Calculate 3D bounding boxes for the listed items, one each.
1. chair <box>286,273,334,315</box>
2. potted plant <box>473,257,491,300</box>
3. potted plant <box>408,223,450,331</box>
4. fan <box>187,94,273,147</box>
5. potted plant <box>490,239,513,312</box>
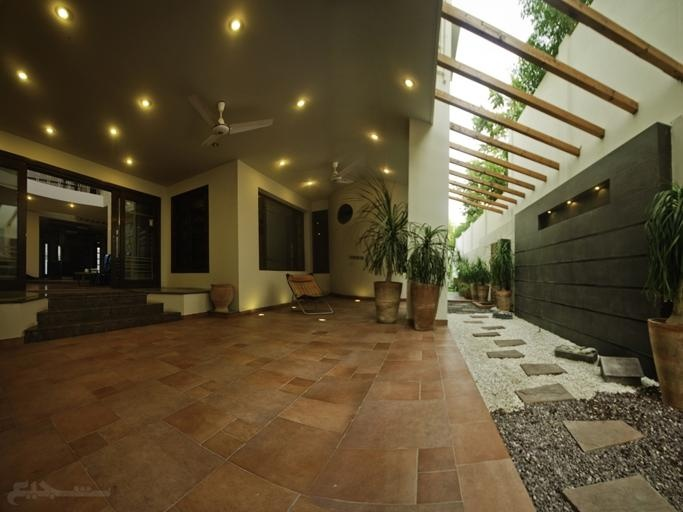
[{"bbox_3d":[-0.714,0.845,8.222,0.622,0.727,1.004,4,17,-32],"label":"chair"},{"bbox_3d":[3.211,0.574,9.595,0.342,1.009,0.838,1,3,16],"label":"potted plant"},{"bbox_3d":[1.267,0.299,6.174,0.598,1.558,0.598,1,4,9],"label":"potted plant"},{"bbox_3d":[-1.650,-1.930,6.118,1.019,0.577,1.158,-1,3,-18],"label":"fan"},{"bbox_3d":[3.083,0.380,8.005,0.302,1.370,0.562,0,4,-1],"label":"potted plant"}]
